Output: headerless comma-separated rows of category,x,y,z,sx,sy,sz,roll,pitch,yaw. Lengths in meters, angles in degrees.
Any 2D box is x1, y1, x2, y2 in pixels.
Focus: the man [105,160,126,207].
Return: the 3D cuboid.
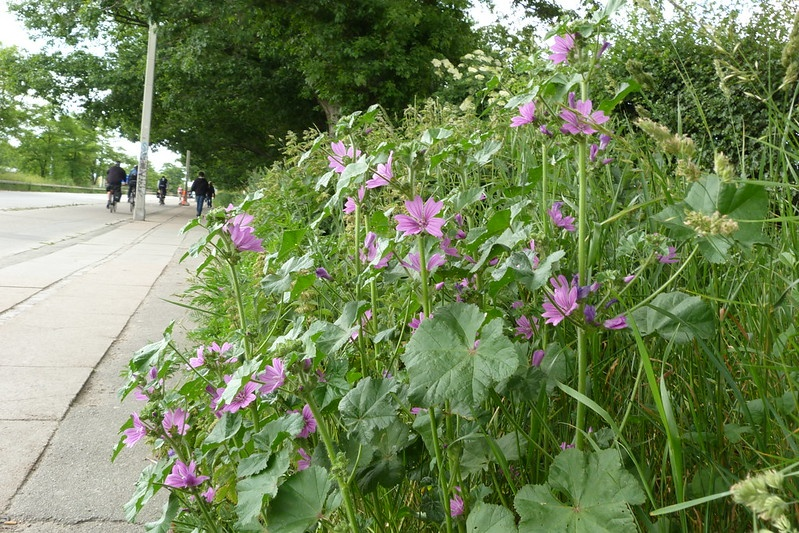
man,-10.103,-2.929,20.636,0.695,1.776,2.483,-7,1,-23
